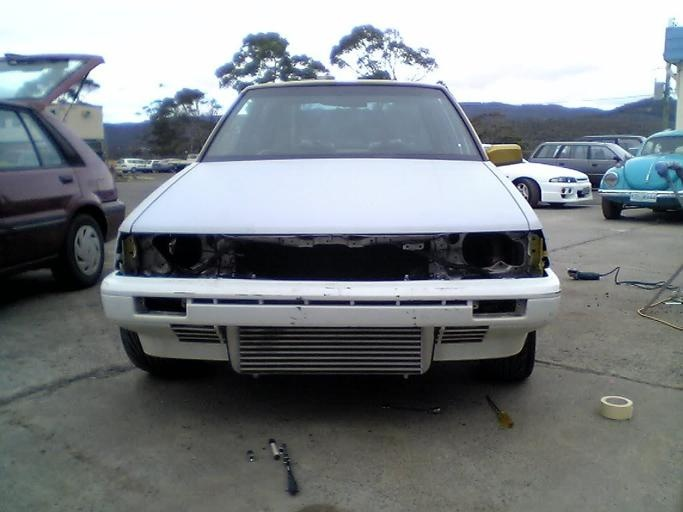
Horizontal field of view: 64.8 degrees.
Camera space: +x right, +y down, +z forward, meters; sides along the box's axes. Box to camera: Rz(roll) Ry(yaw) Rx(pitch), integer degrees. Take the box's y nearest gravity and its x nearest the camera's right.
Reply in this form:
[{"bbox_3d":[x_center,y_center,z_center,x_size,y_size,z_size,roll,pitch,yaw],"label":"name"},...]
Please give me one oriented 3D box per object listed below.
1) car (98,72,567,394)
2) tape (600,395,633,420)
[{"bbox_3d":[-0.007,-0.312,3.434,2.379,1.667,1.942,1,14,5],"label":"car"},{"bbox_3d":[1.564,0.840,3.050,0.167,0.081,0.224,8,16,30],"label":"tape"}]
